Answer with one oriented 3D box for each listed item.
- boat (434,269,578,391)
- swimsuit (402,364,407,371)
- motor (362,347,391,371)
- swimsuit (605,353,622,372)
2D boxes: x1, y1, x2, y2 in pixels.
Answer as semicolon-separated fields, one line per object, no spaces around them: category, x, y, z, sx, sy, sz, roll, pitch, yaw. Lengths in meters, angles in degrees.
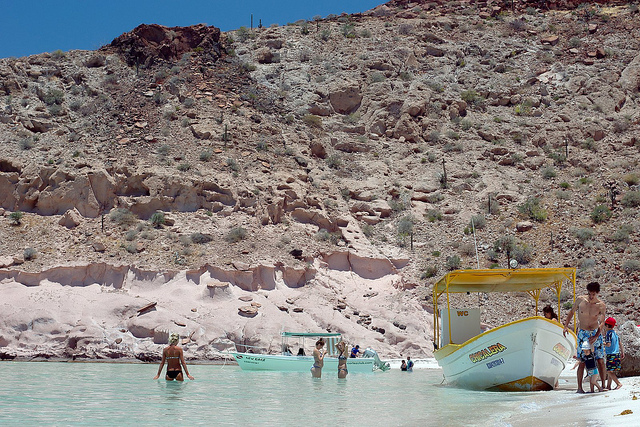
boat;13.480;8.702;97.533;11.151;8.730;21.248;-2;-7;10
swimsuit;6.324;11.709;99.474;0.544;0.452;0.286;1;1;11
motor;4.380;11.135;99.858;2.233;1.016;1.190;26;5;-1
swimsuit;19.170;9.855;86.823;1.292;1.349;0.822;3;6;10
